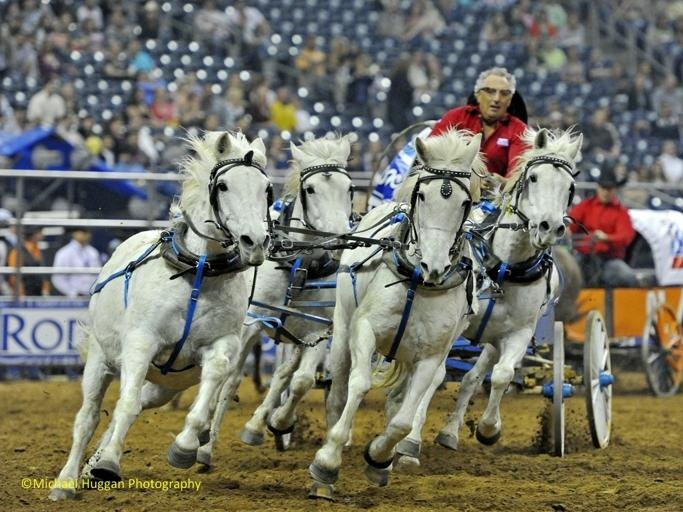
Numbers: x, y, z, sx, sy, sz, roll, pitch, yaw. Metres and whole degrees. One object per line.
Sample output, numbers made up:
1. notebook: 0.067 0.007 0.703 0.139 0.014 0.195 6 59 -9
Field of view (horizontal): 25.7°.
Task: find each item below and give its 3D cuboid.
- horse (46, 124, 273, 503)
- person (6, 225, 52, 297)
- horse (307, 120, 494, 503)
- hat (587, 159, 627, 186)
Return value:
1. horse: -1.995 0.651 17.579 2.316 4.189 1.357 0 11 -3
2. person: -4.729 0.092 22.724 0.860 1.280 0.350 4 -1 8
3. horse: 0.720 0.684 17.784 1.801 4.320 1.263 2 11 4
4. hat: 4.606 -1.439 26.062 0.754 0.350 0.900 0 14 11
